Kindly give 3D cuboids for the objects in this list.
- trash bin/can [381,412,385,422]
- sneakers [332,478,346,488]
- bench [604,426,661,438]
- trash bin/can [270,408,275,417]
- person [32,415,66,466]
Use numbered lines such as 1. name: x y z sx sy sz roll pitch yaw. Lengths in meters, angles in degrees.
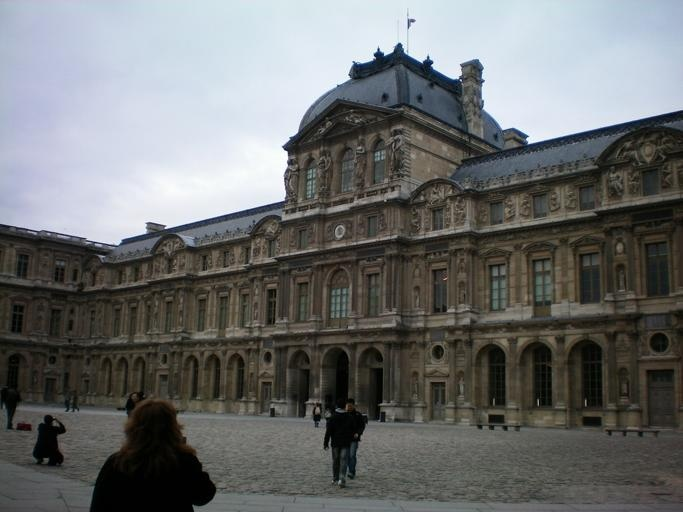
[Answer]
1. trash bin/can: 3.055 11.444 49.734 0.309 0.663 1.102 -4 -14 12
2. sneakers: -0.022 5.952 18.241 0.148 0.186 0.449 9 -23 -23
3. bench: 16.048 9.720 38.894 2.807 0.432 4.013 -5 -15 19
4. trash bin/can: -5.440 12.733 57.230 0.444 0.769 0.969 0 -14 -3
5. person: -8.527 5.512 20.768 0.952 1.542 0.891 2 -4 2
